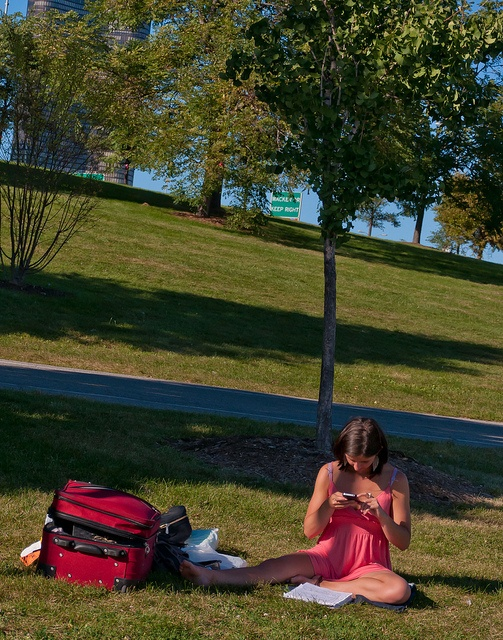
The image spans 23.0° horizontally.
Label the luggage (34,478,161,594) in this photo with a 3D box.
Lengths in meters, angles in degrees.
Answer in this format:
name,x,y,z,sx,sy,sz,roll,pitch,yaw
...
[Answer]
name,x,y,z,sx,sy,sz,roll,pitch,yaw
luggage,-1.290,1.860,11.069,1.014,0.886,0.915,10,4,12
